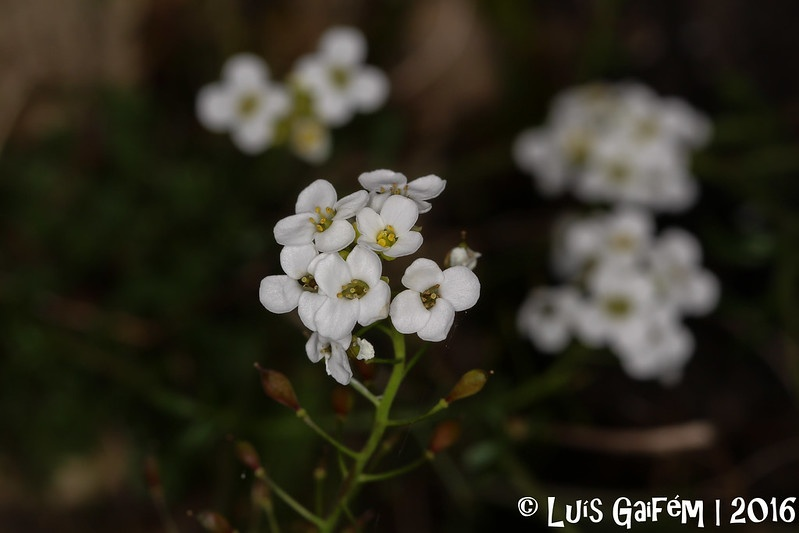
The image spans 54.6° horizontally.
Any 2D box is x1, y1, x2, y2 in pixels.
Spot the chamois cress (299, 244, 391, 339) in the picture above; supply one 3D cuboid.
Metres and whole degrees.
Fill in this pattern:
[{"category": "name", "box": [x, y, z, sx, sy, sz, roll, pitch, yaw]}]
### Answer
[{"category": "chamois cress", "box": [-0.194, 0.102, 2.846, 0.330, 0.127, 0.358, -2, 94, 6]}]
